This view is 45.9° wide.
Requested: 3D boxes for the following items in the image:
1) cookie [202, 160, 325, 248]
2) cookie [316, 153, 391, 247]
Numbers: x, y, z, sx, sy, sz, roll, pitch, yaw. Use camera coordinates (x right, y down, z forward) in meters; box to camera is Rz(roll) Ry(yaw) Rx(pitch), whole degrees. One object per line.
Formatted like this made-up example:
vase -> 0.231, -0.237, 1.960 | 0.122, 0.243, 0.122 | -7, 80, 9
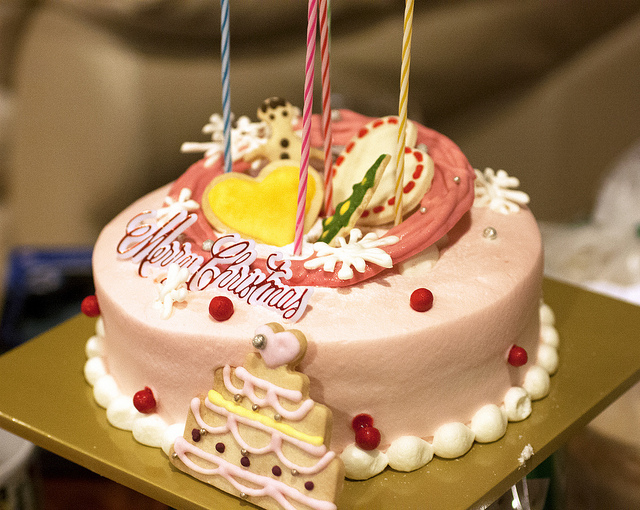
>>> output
cookie -> -0.274, -0.214, 3.383 | 0.415, 0.089, 0.429 | -19, 80, -4
cookie -> 0.145, -0.257, 3.275 | 0.322, 0.380, 0.266 | 25, 39, 33
